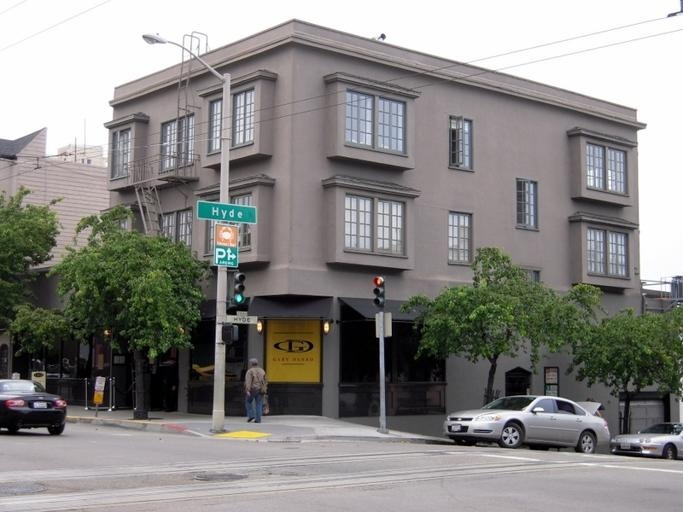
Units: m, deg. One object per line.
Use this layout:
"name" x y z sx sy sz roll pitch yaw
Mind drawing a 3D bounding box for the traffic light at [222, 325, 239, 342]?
"traffic light" -3.478 2.384 28.189 0.499 0.589 0.247 3 0 3

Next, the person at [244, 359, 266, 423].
"person" -2.904 4.568 30.768 0.694 2.179 1.005 3 -1 -5

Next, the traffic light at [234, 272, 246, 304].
"traffic light" -3.147 0.986 28.012 0.329 1.014 0.876 3 -1 -9

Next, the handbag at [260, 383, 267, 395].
"handbag" -2.700 4.513 30.764 0.123 0.356 0.248 -1 2 16

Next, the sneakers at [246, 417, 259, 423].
"sneakers" -3.009 5.628 31.096 0.503 0.217 0.172 15 -23 -30

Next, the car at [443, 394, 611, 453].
"car" 5.987 5.330 28.635 4.973 1.740 1.547 3 -1 -26
